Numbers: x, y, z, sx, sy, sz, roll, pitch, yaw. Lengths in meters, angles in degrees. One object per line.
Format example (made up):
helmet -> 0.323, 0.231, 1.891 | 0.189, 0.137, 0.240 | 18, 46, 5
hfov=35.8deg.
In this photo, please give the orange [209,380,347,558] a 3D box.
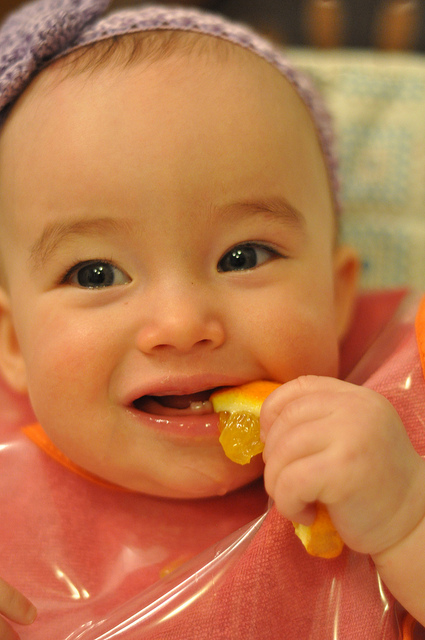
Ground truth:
orange -> 0.109, 0.149, 0.744 | 0.128, 0.153, 0.172 | -8, 16, -32
